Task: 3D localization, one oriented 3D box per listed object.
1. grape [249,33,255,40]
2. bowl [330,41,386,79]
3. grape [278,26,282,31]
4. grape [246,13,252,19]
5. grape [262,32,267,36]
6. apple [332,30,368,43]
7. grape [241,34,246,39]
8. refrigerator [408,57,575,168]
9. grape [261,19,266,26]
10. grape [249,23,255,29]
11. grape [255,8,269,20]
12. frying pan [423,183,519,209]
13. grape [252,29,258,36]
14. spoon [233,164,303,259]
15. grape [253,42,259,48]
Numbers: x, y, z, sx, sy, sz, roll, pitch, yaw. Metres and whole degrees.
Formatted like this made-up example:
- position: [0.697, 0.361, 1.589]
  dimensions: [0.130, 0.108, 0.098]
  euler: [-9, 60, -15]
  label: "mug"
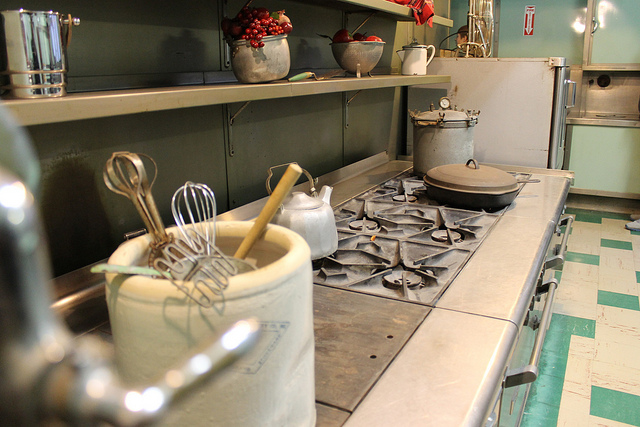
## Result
- position: [-0.183, -0.476, 1.188]
  dimensions: [0.014, 0.013, 0.016]
  euler: [7, -21, 4]
  label: "grape"
- position: [0.171, -0.605, 1.736]
  dimensions: [0.212, 0.135, 0.225]
  euler: [0, 19, 0]
  label: "bowl"
- position: [-0.111, -0.512, 1.224]
  dimensions: [0.009, 0.012, 0.022]
  euler: [-1, 19, 0]
  label: "grape"
- position: [-0.192, -0.535, 1.196]
  dimensions: [0.013, 0.012, 0.013]
  euler: [9, 17, 22]
  label: "grape"
- position: [-0.150, -0.488, 1.202]
  dimensions: [0.008, 0.008, 0.015]
  euler: [12, 23, 32]
  label: "grape"
- position: [0.119, -0.695, 1.765]
  dimensions: [0.133, 0.058, 0.076]
  euler: [-1, 11, -15]
  label: "apple"
- position: [-0.206, -0.478, 1.195]
  dimensions: [0.009, 0.012, 0.019]
  euler: [-3, 19, -7]
  label: "grape"
- position: [1.206, -0.725, 3.105]
  dimensions: [0.869, 1.208, 0.699]
  euler: [7, 21, 24]
  label: "refrigerator"
- position: [-0.155, -0.517, 1.196]
  dimensions: [0.009, 0.016, 0.004]
  euler: [-3, 20, -6]
  label: "grape"
- position: [-0.182, -0.504, 1.187]
  dimensions: [0.013, 0.012, 0.012]
  euler: [7, 18, 12]
  label: "grape"
- position: [-0.156, -0.542, 1.198]
  dimensions: [0.040, 0.032, 0.033]
  euler: [-26, 49, -36]
  label: "grape"
- position: [0.619, -0.101, 1.774]
  dimensions: [0.404, 0.070, 0.328]
  euler: [8, 20, 38]
  label: "frying pan"
- position: [-0.175, -0.487, 1.188]
  dimensions: [0.015, 0.014, 0.008]
  euler: [-1, 2, 2]
  label: "grape"
- position: [-0.124, -0.015, 0.969]
  dimensions: [0.038, 0.044, 0.278]
  euler: [7, 57, 42]
  label: "spoon"
- position: [-0.172, -0.452, 1.185]
  dimensions: [0.015, 0.012, 0.008]
  euler: [-3, 20, -8]
  label: "grape"
